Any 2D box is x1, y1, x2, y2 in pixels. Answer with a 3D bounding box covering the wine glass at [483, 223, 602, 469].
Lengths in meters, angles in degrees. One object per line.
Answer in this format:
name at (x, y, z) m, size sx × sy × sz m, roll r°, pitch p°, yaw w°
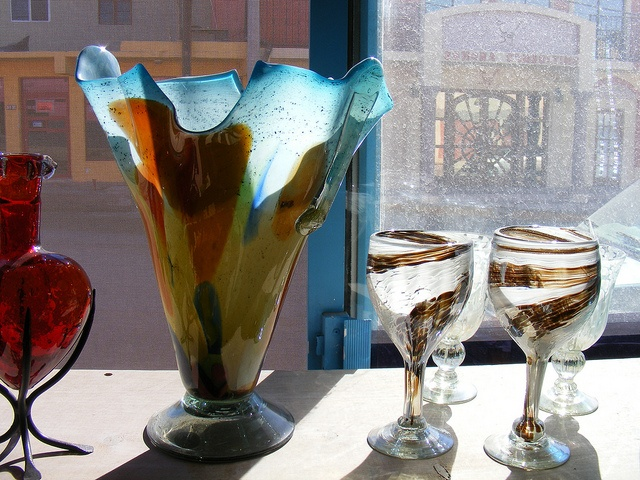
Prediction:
wine glass at (0.249, 0.123, 0.853) m, size 0.121 × 0.262 × 0.070 m, roll 2°, pitch 9°, yaw 12°
